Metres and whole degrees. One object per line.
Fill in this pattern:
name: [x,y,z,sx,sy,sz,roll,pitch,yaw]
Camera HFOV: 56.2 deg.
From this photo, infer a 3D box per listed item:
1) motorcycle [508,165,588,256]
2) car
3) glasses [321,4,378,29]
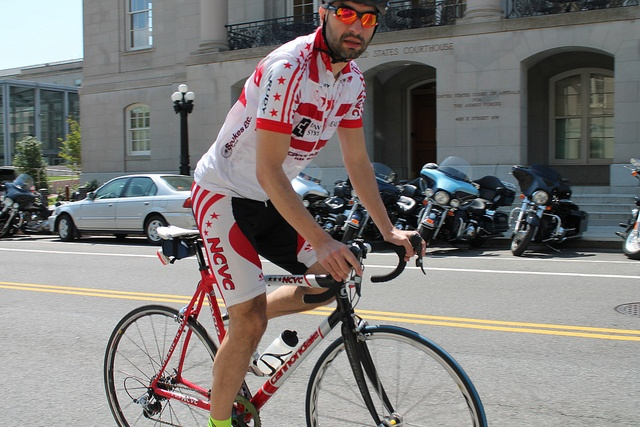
motorcycle: [4.435,-0.088,11.955,1.654,1.728,0.855,-9,14,-35]
car: [-4.357,-0.166,15.040,5.700,1.346,2.227,1,2,29]
glasses: [0.217,-1.255,3.837,0.345,0.145,0.104,-1,11,-2]
